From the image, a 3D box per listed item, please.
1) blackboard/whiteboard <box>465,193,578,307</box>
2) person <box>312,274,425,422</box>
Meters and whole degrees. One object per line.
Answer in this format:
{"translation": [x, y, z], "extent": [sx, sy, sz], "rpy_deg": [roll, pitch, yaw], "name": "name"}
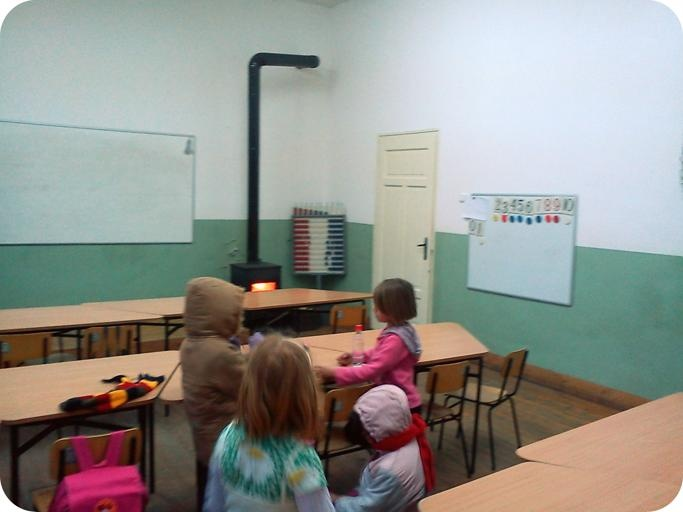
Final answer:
{"translation": [1.964, -0.075, 5.298], "extent": [0.137, 1.122, 1.232], "rpy_deg": [-5, 7, -40], "name": "blackboard/whiteboard"}
{"translation": [0.153, 0.800, 3.260], "extent": [0.725, 1.268, 0.544], "rpy_deg": [-1, -1, 3], "name": "person"}
